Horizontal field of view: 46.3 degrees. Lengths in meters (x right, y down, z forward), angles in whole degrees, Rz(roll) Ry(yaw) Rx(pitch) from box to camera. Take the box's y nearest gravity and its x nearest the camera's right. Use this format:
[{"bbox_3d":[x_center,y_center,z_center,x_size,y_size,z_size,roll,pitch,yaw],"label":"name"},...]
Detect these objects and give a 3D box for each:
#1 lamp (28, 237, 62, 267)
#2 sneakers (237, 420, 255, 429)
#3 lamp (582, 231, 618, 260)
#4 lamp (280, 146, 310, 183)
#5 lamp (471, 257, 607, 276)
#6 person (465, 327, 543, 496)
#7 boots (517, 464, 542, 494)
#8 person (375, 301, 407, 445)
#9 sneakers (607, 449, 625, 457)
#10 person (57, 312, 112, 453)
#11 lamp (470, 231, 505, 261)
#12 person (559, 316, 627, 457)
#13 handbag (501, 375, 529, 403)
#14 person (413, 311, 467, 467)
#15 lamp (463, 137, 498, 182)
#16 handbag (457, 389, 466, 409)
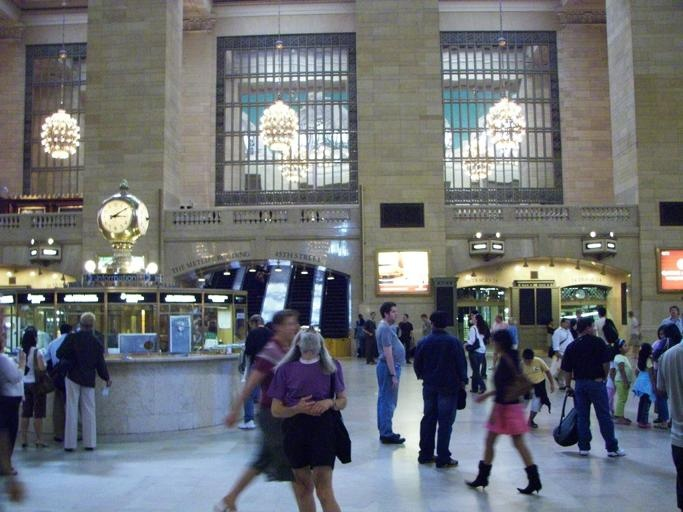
[{"bbox_3d":[-11.189,-0.142,29.787,1.038,1.369,1.059,-2,-2,45],"label":"lamp"},{"bbox_3d":[-1.865,3.267,15.396,0.288,0.129,0.184,3,-4,20],"label":"sneakers"},{"bbox_3d":[9.319,-0.386,29.009,0.911,1.196,1.150,-1,-3,16],"label":"lamp"},{"bbox_3d":[-2.337,-4.332,37.479,1.108,1.767,1.775,-2,-3,11],"label":"lamp"},{"bbox_3d":[7.775,0.433,31.069,4.943,0.657,0.918,-2,-3,10],"label":"lamp"},{"bbox_3d":[2.437,2.291,11.922,0.954,2.411,0.532,-2,-4,13],"label":"person"},{"bbox_3d":[2.742,3.261,11.739,0.338,0.440,0.232,-3,-4,24],"label":"boots"},{"bbox_3d":[0.843,2.066,14.156,0.497,2.501,1.429,-1,-3,2],"label":"person"},{"bbox_3d":[4.520,3.259,13.189,0.318,0.151,0.114,-4,3,-17],"label":"sneakers"},{"bbox_3d":[-4.548,2.186,13.915,0.809,2.361,0.307,0,-4,-18],"label":"person"},{"bbox_3d":[5.298,-0.392,29.209,1.024,0.812,1.058,1,2,26],"label":"lamp"},{"bbox_3d":[4.094,2.310,13.225,0.851,2.007,0.346,-2,-4,18],"label":"person"},{"bbox_3d":[2.563,1.986,11.975,0.441,0.385,0.687,-9,-8,8],"label":"handbag"},{"bbox_3d":[1.566,2.131,12.836,0.850,2.481,0.460,-4,-4,34],"label":"person"},{"bbox_3d":[6.161,-4.636,36.316,1.475,2.371,3.761,-2,-3,11],"label":"lamp"},{"bbox_3d":[1.903,2.277,12.773,0.128,0.347,0.300,-2,-3,13],"label":"handbag"}]
